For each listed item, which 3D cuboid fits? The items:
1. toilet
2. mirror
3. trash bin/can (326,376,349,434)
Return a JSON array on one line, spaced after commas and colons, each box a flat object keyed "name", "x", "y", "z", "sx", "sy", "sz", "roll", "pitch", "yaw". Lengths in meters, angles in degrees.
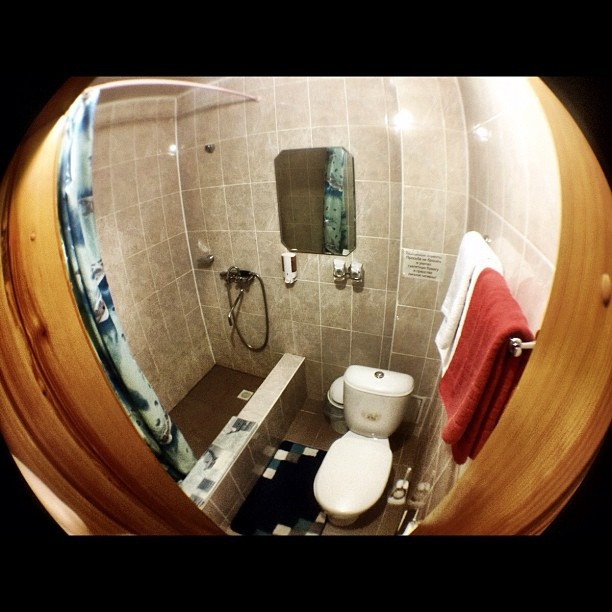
[{"name": "toilet", "x": 0.209, "y": 0.596, "z": 1.939, "sx": 0.247, "sy": 0.505, "sz": 0.552, "roll": 11, "pitch": 30, "yaw": 21}, {"name": "mirror", "x": 0.036, "y": -0.418, "z": 1.973, "sx": 0.307, "sy": 0.450, "sz": 0.006, "roll": 2, "pitch": 41, "yaw": 8}, {"name": "trash bin/can", "x": 0.158, "y": 0.407, "z": 2.298, "sx": 0.084, "sy": 0.152, "sz": 0.142, "roll": 15, "pitch": -17, "yaw": 16}]
